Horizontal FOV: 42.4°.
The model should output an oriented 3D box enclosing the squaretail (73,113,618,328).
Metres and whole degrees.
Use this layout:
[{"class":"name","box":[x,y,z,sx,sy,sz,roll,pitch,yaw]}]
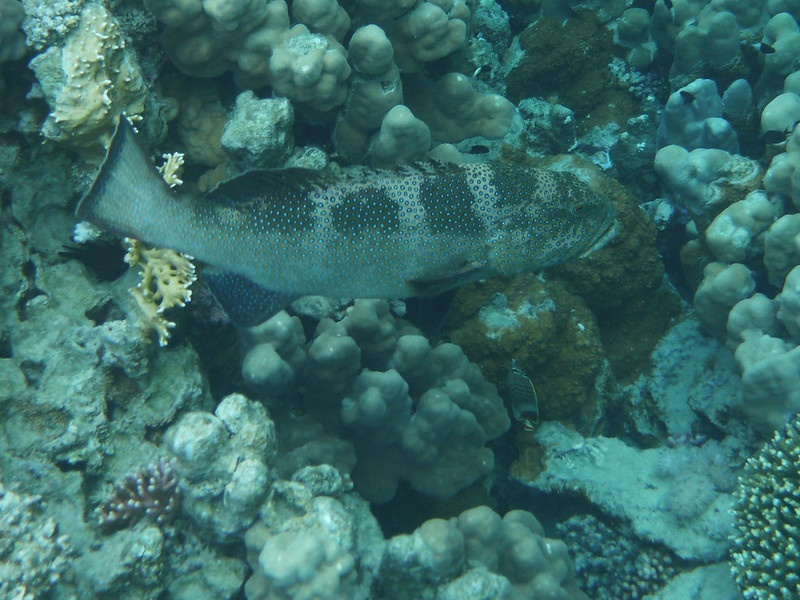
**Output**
[{"class":"squaretail","box":[-0.429,-0.596,8.013,4.130,1.507,1.187,-3,49,-5]}]
